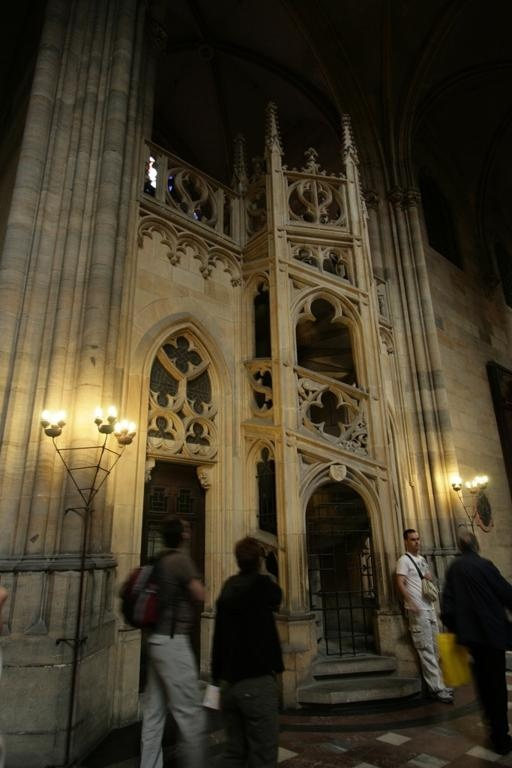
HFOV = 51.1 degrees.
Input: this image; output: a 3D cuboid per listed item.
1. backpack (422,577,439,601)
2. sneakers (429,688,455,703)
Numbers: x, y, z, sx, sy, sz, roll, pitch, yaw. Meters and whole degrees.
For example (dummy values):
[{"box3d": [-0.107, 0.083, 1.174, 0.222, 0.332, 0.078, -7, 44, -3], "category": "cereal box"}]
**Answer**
[{"box3d": [1.707, 2.001, 5.225, 0.163, 0.226, 0.180, -20, -26, 40], "category": "backpack"}, {"box3d": [1.742, 2.886, 5.008, 0.078, 0.095, 0.210, 9, -18, -24], "category": "sneakers"}]
